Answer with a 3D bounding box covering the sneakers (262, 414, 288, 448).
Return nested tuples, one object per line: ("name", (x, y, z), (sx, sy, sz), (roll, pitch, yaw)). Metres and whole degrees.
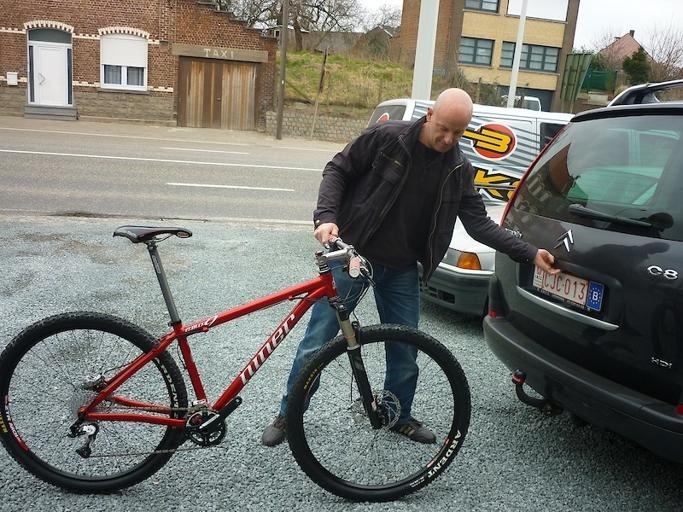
("sneakers", (-0.410, 1.080, 3.611), (0.155, 0.126, 0.320), (1, 16, 3))
